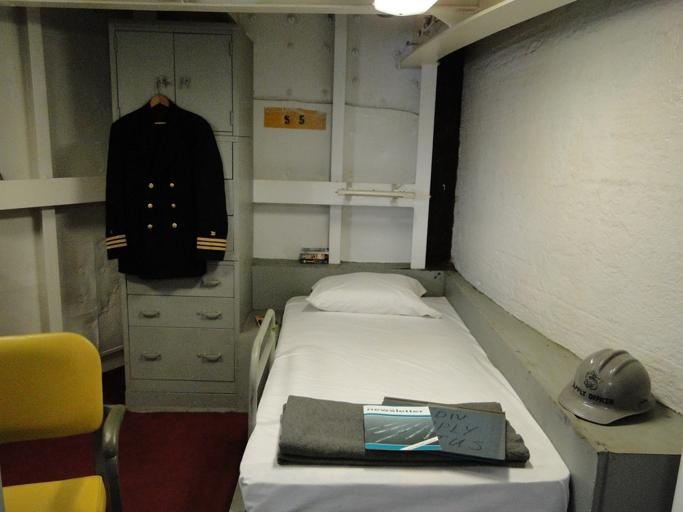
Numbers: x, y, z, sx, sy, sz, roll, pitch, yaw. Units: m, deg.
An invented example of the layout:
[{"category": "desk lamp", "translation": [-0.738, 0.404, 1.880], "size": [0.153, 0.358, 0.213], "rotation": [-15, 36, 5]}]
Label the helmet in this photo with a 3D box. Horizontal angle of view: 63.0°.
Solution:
[{"category": "helmet", "translation": [1.185, 0.589, 2.498], "size": [0.354, 0.212, 0.300], "rotation": [-18, 25, -18]}]
